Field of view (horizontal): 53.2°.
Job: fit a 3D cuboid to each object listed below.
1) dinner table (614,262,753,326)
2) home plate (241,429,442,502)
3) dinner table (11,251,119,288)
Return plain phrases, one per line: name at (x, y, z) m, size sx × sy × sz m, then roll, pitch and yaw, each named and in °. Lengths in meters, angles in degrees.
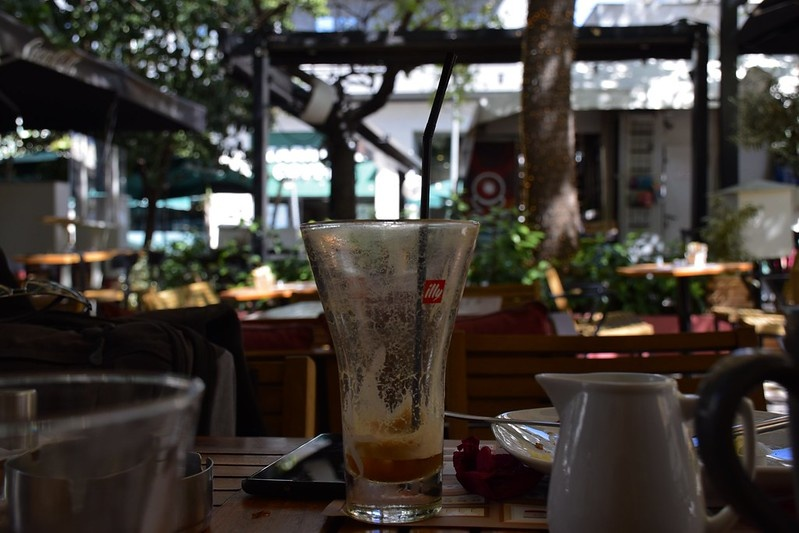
dinner table at (1.858, 0.203, 5.310) m, size 0.612 × 0.446 × 0.620 m, roll -3°, pitch 6°, yaw -5°
home plate at (-0.016, 0.269, 1.148) m, size 0.234 × 0.045 × 0.428 m, roll 1°, pitch -1°, yaw 8°
dinner table at (-2.715, -0.016, 6.699) m, size 0.696 × 0.288 × 1.746 m, roll -8°, pitch 6°, yaw -18°
